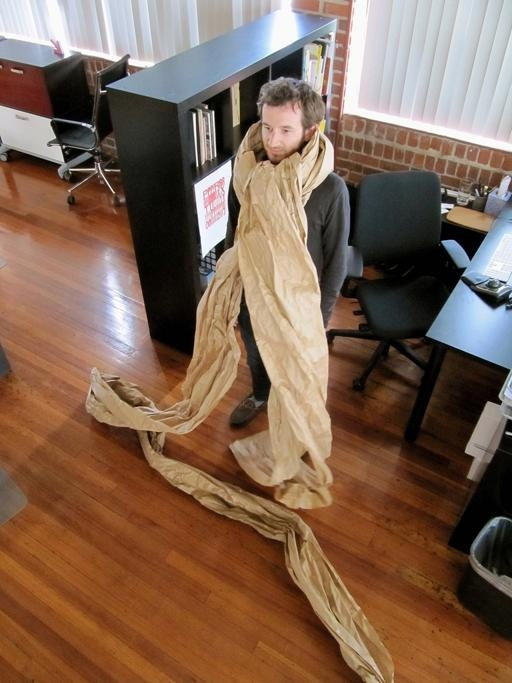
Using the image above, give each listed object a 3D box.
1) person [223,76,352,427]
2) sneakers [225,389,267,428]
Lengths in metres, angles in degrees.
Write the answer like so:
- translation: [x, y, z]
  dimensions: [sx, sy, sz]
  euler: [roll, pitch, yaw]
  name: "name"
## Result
- translation: [0.108, -0.233, 2.114]
  dimensions: [0.491, 1.476, 0.386]
  euler: [7, 43, 8]
  name: "person"
- translation: [-0.043, 0.331, 2.547]
  dimensions: [0.100, 0.080, 0.218]
  euler: [33, 60, 23]
  name: "sneakers"
